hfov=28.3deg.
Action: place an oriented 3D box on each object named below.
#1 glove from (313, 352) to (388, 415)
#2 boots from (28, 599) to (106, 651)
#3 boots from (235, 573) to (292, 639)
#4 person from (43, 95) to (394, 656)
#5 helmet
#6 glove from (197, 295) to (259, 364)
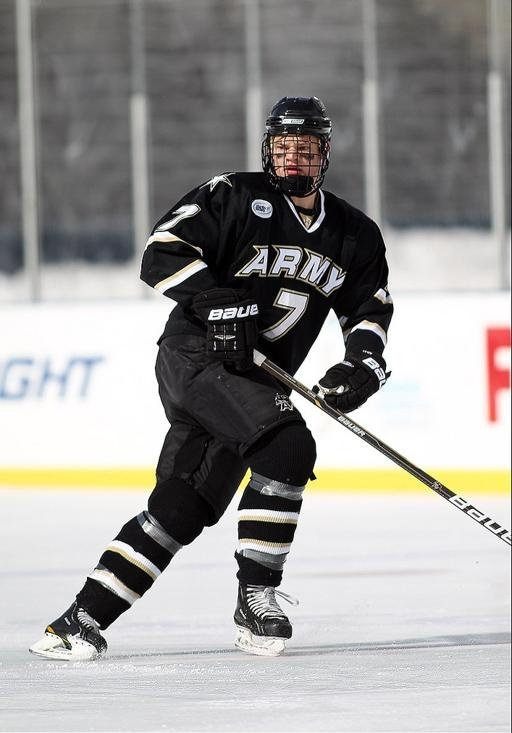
[{"bbox_3d":[0.230,0.037,2.395,0.189,0.100,0.071,-33,-13,-39],"label":"glove"},{"bbox_3d":[-0.376,0.551,2.089,0.178,0.097,0.058,-7,-8,20],"label":"boots"},{"bbox_3d":[0.014,0.520,2.180,0.068,0.113,0.196,8,-5,-27],"label":"boots"},{"bbox_3d":[-0.059,-0.020,2.286,0.827,1.279,0.371,2,-7,-11],"label":"person"},{"bbox_3d":[0.102,-0.527,2.439,0.181,0.206,0.236,2,-1,9],"label":"helmet"},{"bbox_3d":[-0.064,-0.084,2.208,0.139,0.154,0.154,-1,8,29],"label":"glove"}]
